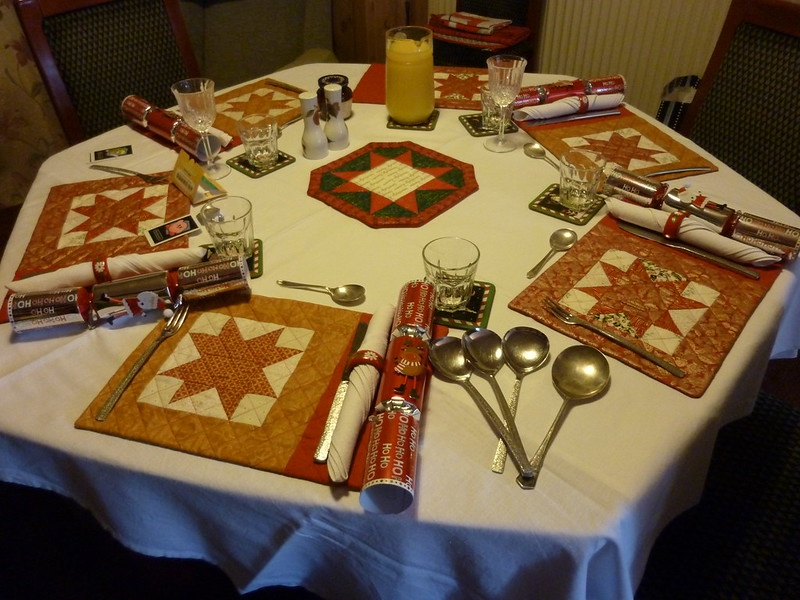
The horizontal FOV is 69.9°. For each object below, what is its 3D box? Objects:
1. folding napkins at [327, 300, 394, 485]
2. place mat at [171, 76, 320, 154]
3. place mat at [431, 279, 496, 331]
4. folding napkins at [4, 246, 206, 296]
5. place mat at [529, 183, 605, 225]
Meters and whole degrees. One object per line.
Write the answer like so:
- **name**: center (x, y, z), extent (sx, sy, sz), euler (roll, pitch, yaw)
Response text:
- **folding napkins**: center (-0.063, 0.155, 0.991), extent (0.058, 0.058, 0.326), euler (-10, 40, 34)
- **place mat**: center (-0.452, -0.622, 1.811), extent (0.277, 0.044, 0.300), euler (32, 58, 32)
- **place mat**: center (0.128, 0.001, 1.120), extent (0.091, 0.007, 0.099), euler (6, 47, 15)
- **folding napkins**: center (-0.609, -0.057, 1.189), extent (0.293, 0.050, 0.045), euler (-13, 91, -9)
- **place mat**: center (0.390, -0.217, 1.363), extent (0.114, 0.009, 0.117), euler (21, 48, 27)
